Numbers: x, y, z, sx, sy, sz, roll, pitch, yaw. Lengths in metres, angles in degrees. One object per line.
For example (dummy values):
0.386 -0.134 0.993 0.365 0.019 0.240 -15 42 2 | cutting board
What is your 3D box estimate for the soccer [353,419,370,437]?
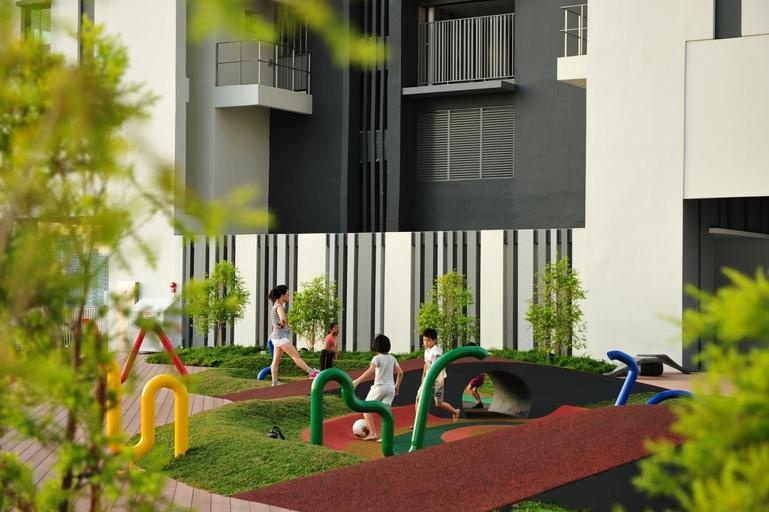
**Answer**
-0.300 2.174 9.307 0.183 0.215 0.198 -2 1 4 | soccer
